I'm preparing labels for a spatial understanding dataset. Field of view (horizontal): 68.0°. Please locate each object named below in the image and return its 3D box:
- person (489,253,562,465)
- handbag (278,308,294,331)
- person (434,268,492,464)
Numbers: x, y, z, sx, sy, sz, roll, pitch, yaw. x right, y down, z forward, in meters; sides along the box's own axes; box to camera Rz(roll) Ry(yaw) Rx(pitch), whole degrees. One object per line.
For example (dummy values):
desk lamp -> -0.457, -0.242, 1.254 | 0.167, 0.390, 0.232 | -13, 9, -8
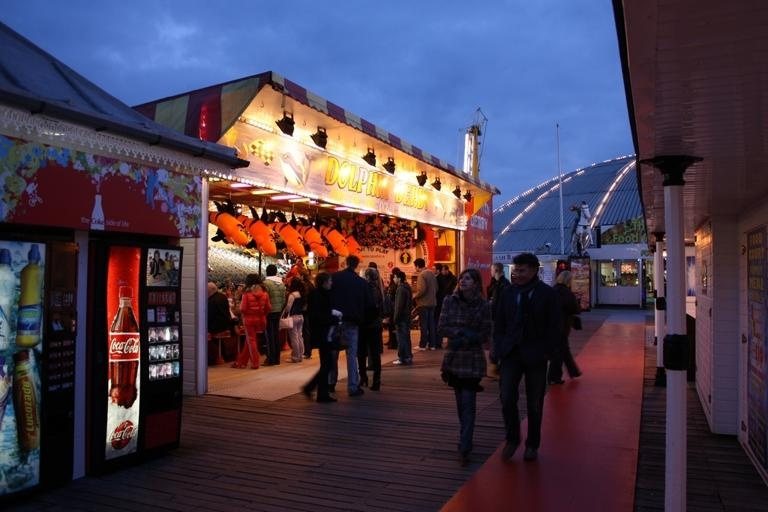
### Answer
person -> 1.530, 1.099, 6.193 | 0.697, 2.258, 0.452 | 0, 0, 11
handbag -> -1.954, 1.231, 11.385 | 0.178, 0.564, 0.411 | -3, -5, 12
person -> 0.901, 1.187, 6.355 | 0.562, 2.066, 0.477 | 0, 0, 7
